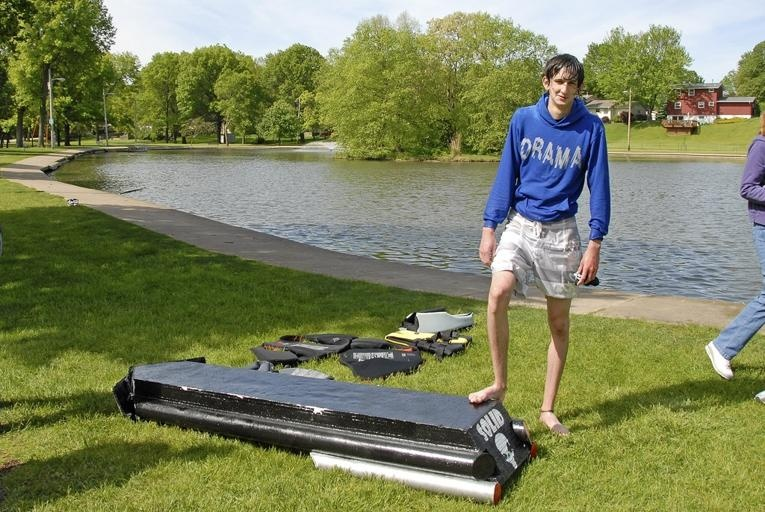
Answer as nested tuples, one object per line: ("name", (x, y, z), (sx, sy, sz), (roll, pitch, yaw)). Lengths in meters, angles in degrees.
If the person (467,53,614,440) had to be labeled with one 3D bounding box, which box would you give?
("person", (1.470, -0.085, 6.069), (1.190, 3.410, 0.929), (-1, 14, -5))
